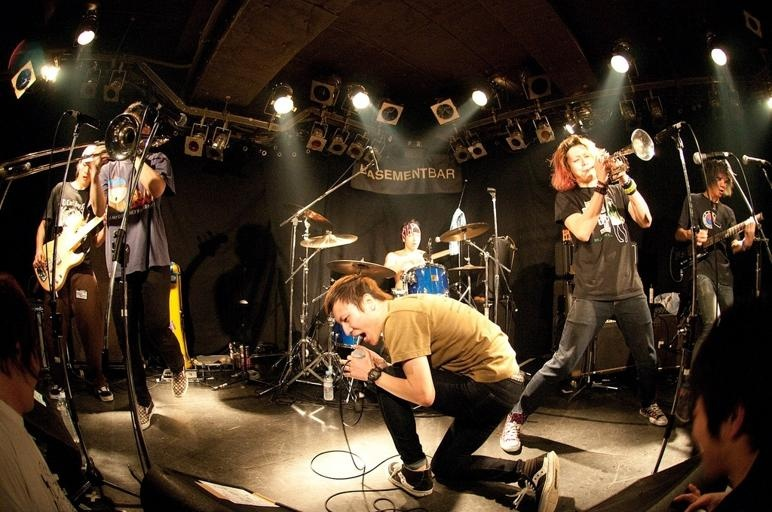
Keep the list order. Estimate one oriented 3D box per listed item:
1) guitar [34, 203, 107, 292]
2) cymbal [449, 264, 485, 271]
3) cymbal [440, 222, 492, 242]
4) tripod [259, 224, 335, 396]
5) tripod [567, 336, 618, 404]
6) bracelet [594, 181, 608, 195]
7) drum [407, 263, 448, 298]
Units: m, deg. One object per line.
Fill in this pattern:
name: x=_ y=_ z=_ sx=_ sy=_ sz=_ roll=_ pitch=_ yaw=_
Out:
guitar: x=-3.162 y=-0.107 z=5.238 sx=0.613 sy=1.052 sz=0.437 roll=-1 pitch=-3 yaw=18
cymbal: x=1.108 y=0.131 z=7.071 sx=0.219 sy=0.051 sz=0.224 roll=-5 pitch=-10 yaw=35
cymbal: x=1.000 y=-0.301 z=6.949 sx=0.391 sy=0.189 sz=0.398 roll=-28 pitch=-30 yaw=36
tripod: x=-1.112 y=0.757 z=6.662 sx=0.667 sy=2.227 sz=0.772 roll=-4 pitch=14 yaw=-5
tripod: x=2.405 y=1.449 z=6.331 sx=0.574 sy=0.801 sz=0.467 roll=6 pitch=8 yaw=-9
bracelet: x=1.787 y=-0.572 z=4.392 sx=0.089 sy=0.082 sz=0.089 roll=1 pitch=-12 yaw=9
drum: x=0.511 y=0.298 z=6.491 sx=0.429 sy=0.308 sz=0.424 roll=2 pitch=-9 yaw=0
